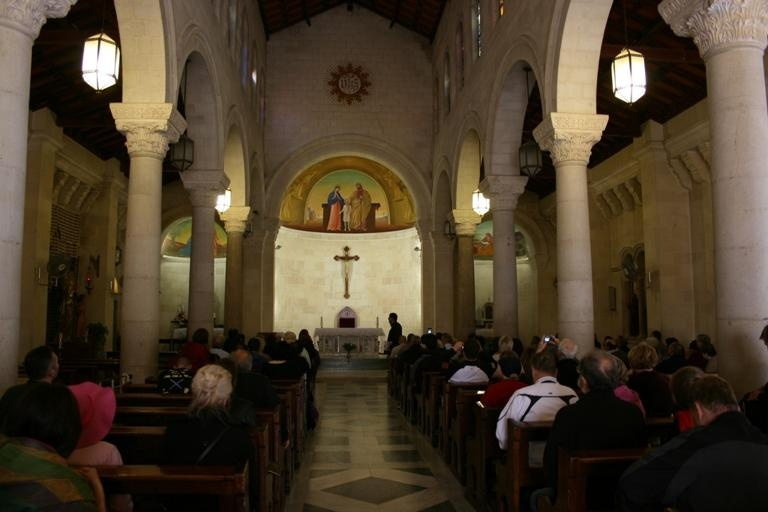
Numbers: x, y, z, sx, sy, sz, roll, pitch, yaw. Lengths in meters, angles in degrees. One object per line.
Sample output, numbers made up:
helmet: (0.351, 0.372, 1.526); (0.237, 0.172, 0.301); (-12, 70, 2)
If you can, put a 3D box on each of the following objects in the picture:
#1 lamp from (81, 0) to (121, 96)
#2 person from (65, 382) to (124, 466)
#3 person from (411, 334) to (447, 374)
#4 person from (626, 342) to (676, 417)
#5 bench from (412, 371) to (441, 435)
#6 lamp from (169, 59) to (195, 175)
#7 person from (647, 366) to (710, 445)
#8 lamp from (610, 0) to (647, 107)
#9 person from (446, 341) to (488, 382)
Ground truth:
lamp: (-4.487, -3.182, 11.060); (0.525, 0.960, 0.428); (3, -9, -26)
person: (-3.104, 1.809, 7.807); (0.798, 0.863, 0.746); (2, -2, -35)
person: (0.911, 1.991, 14.105); (0.448, 1.271, 0.409); (-3, -50, 13)
person: (3.449, 1.612, 9.154); (0.620, 0.994, 0.556); (-9, 9, -2)
bench: (0.786, 2.647, 12.643); (0.475, 1.108, 1.164); (1, -6, -2)
lamp: (-4.288, -3.013, 14.807); (0.474, 2.536, 1.725); (1, -9, -17)
person: (3.405, 1.840, 8.042); (0.523, 0.528, 1.342); (-6, 2, 40)
lamp: (4.061, -3.101, 11.578); (0.518, 1.041, 0.505); (-4, -9, 19)
person: (1.399, 1.788, 11.705); (0.722, 0.726, 0.399); (1, 0, 0)
